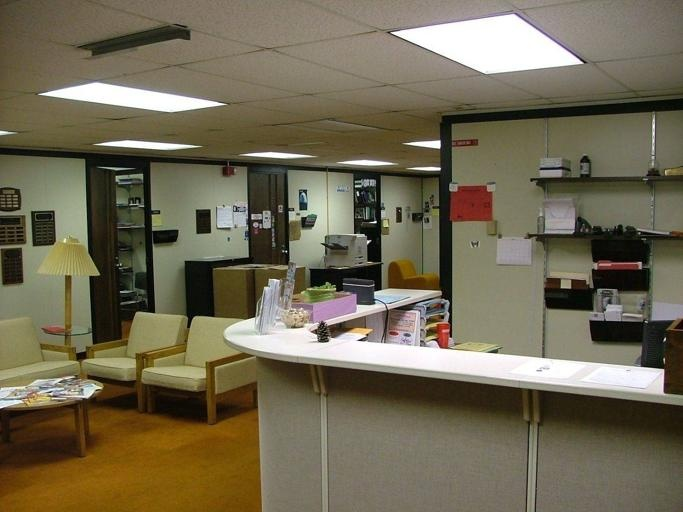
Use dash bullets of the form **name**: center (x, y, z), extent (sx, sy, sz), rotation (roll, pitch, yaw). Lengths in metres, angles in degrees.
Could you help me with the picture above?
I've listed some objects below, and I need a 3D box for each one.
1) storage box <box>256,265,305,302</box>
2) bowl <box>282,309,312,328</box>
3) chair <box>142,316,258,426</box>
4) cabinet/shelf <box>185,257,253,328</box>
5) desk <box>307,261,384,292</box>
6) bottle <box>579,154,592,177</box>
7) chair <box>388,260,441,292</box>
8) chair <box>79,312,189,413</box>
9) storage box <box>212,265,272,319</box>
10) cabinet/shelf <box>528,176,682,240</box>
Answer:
- **storage box**: center (-0.971, 0.398, 8.533), extent (0.628, 0.578, 0.593), rotation (0, -1, 37)
- **bowl**: center (-0.317, 0.453, 4.008), extent (0.151, 0.088, 0.147), rotation (0, 1, 0)
- **chair**: center (-1.477, 1.166, 5.728), extent (0.972, 0.799, 0.962), rotation (2, 1, 24)
- **cabinet/shelf**: center (-2.113, 0.399, 9.203), extent (0.830, 1.319, 1.468), rotation (3, 6, 33)
- **desk**: center (-0.023, 0.364, 10.802), extent (0.578, 0.731, 1.506), rotation (2, 4, 28)
- **bottle**: center (2.195, -0.812, 4.888), extent (0.103, 0.210, 0.172), rotation (2, 7, 23)
- **chair**: center (1.360, 0.413, 10.358), extent (0.732, 0.598, 0.673), rotation (-3, 0, 22)
- **chair**: center (-2.298, 1.183, 6.256), extent (1.068, 0.891, 1.014), rotation (1, 2, 32)
- **storage box**: center (-1.562, 0.556, 8.729), extent (0.723, 0.928, 1.008), rotation (1, 3, 17)
- **cabinet/shelf**: center (2.313, -0.454, 4.814), extent (1.215, 0.505, 0.403), rotation (1, 6, 18)
